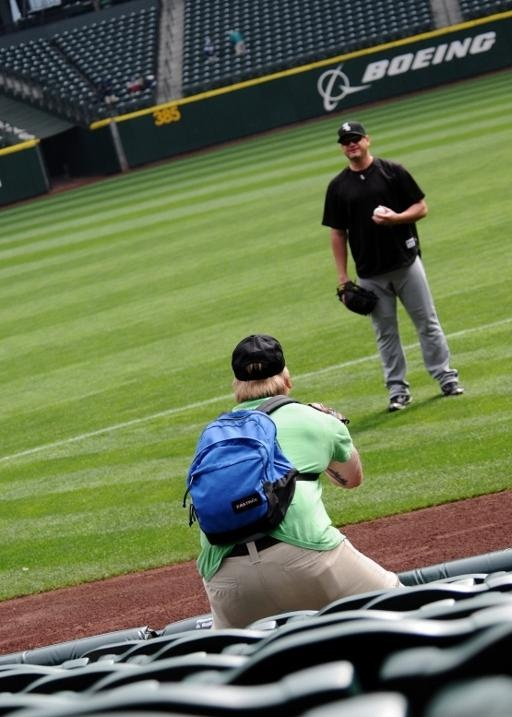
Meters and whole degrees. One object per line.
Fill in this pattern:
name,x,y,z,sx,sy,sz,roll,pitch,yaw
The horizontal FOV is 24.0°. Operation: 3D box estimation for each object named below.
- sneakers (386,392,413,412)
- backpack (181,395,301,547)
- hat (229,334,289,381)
sneakers,0.961,0.302,8.228,0.088,0.072,0.191,-3,5,23
backpack,-0.075,0.512,5.176,0.519,0.529,0.629,-16,-15,21
hat,0.020,-0.030,5.677,0.274,0.173,0.338,-8,8,16
